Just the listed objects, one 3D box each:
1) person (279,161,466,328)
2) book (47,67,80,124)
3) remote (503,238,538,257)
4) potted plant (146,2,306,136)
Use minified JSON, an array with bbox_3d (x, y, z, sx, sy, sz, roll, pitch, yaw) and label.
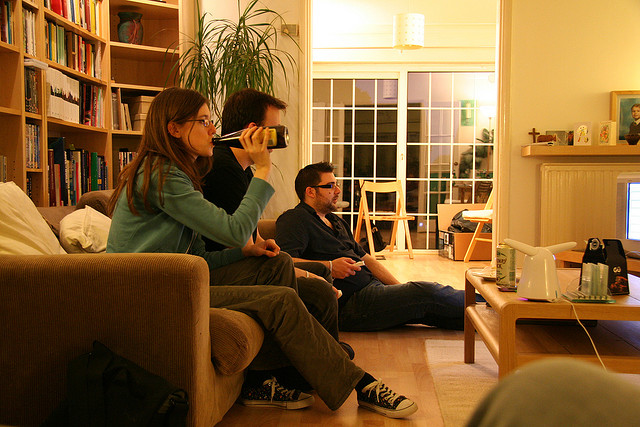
[{"bbox_3d":[0.420,0.247,3.316,1.387,0.965,0.682,10,7,-2],"label":"person"},{"bbox_3d":[-1.929,-0.848,3.699,0.204,0.323,0.387,0,0,-2],"label":"book"},{"bbox_3d":[0.895,0.142,2.256,0.134,0.062,0.170,2,4,20],"label":"remote"},{"bbox_3d":[-0.855,-1.289,4.639,1.129,1.354,1.488,0,5,4],"label":"potted plant"}]
